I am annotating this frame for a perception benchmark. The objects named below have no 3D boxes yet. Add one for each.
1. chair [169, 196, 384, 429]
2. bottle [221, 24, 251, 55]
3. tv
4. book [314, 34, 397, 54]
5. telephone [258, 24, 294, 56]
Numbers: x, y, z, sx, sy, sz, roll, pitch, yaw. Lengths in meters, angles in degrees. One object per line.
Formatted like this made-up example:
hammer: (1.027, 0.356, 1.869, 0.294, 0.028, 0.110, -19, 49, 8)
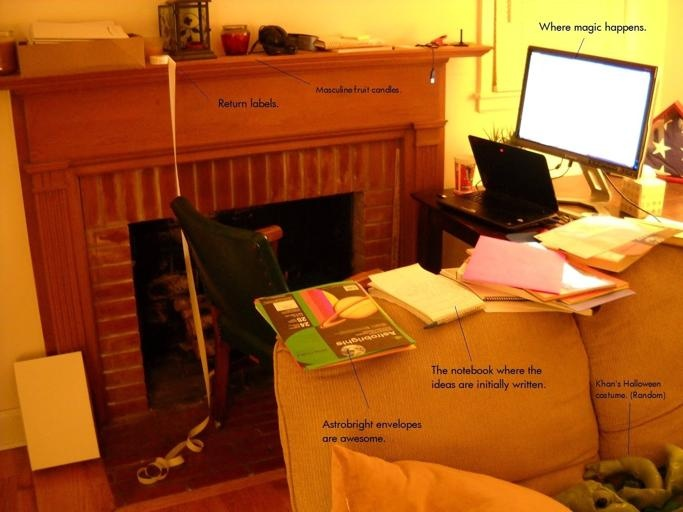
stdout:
chair: (-0.324, 0.086, 2.219, 0.644, 0.866, 0.639, -16, 31, -33)
bottle: (-0.431, -0.887, 2.234, 0.125, 0.116, 0.124, 8, 21, 19)
tv: (1.005, -0.505, 2.244, 0.252, 0.687, 0.696, -19, 36, -26)
book: (0.069, -0.959, 2.442, 0.381, 0.082, 0.197, -4, 16, -7)
telephone: (-0.274, -0.906, 2.304, 0.089, 0.133, 0.121, -20, 25, -3)
